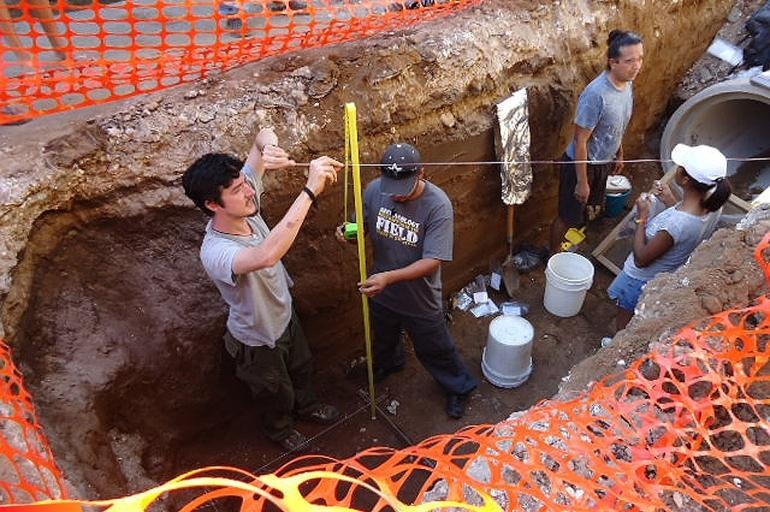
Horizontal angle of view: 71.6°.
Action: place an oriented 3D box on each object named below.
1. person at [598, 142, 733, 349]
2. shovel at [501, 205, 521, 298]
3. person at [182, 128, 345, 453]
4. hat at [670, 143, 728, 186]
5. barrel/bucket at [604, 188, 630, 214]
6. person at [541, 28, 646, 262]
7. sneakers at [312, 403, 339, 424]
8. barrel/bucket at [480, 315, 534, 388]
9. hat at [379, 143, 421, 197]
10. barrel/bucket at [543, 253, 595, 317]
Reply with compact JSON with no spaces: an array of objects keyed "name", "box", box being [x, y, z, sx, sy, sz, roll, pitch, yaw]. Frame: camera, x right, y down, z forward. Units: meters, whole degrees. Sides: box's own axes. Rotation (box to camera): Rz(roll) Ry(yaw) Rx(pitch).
[{"name":"person","box":[2.243,-0.118,4.392,0.640,1.533,0.475,-15,38,-16]},{"name":"shovel","box":[1.387,-0.110,5.792,0.234,0.103,1.056,-2,72,38]},{"name":"person","box":[-0.825,0.390,4.073,0.773,2.432,0.848,19,42,28]},{"name":"hat","box":[2.398,-0.683,4.030,0.265,0.205,0.262,1,36,5]},{"name":"barrel/bucket","box":[2.648,-0.599,6.108,0.265,0.212,0.278,-5,41,4]},{"name":"person","box":[2.033,-1.146,5.274,0.845,2.541,0.880,-5,16,-14]},{"name":"sneakers","box":[-0.519,1.353,4.631,0.234,0.095,0.134,6,58,-1]},{"name":"barrel/bucket","box":[1.129,0.864,4.886,0.473,0.539,0.409,5,37,11]},{"name":"hat","box":[0.103,-0.618,3.800,0.246,0.192,0.379,6,59,11]},{"name":"barrel/bucket","box":[1.840,0.285,5.417,0.430,0.545,0.393,-2,36,2]}]
